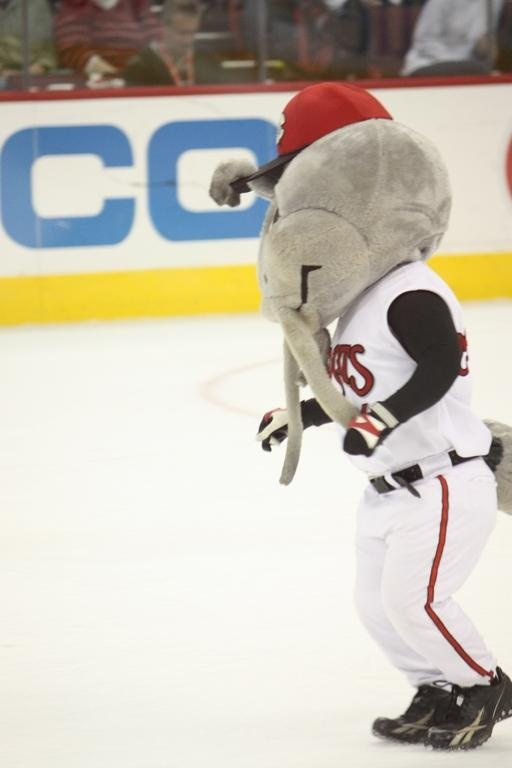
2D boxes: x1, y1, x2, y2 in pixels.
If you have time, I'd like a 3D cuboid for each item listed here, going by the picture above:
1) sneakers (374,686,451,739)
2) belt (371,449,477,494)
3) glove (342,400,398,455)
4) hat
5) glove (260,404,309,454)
[{"bbox_3d":[0.337,0.614,1.733,0.205,0.070,0.066,-6,7,-10],"label":"sneakers"},{"bbox_3d":[0.300,0.152,1.638,0.133,0.038,0.090,-19,2,1],"label":"belt"},{"bbox_3d":[0.187,0.063,1.500,0.064,0.103,0.042,42,5,8],"label":"glove"},{"bbox_3d":[0.103,-0.461,1.703,0.247,0.107,0.150,-19,7,11],"label":"hat"},{"bbox_3d":[0.050,0.086,1.846,0.050,0.096,0.059,32,8,-10],"label":"glove"}]
